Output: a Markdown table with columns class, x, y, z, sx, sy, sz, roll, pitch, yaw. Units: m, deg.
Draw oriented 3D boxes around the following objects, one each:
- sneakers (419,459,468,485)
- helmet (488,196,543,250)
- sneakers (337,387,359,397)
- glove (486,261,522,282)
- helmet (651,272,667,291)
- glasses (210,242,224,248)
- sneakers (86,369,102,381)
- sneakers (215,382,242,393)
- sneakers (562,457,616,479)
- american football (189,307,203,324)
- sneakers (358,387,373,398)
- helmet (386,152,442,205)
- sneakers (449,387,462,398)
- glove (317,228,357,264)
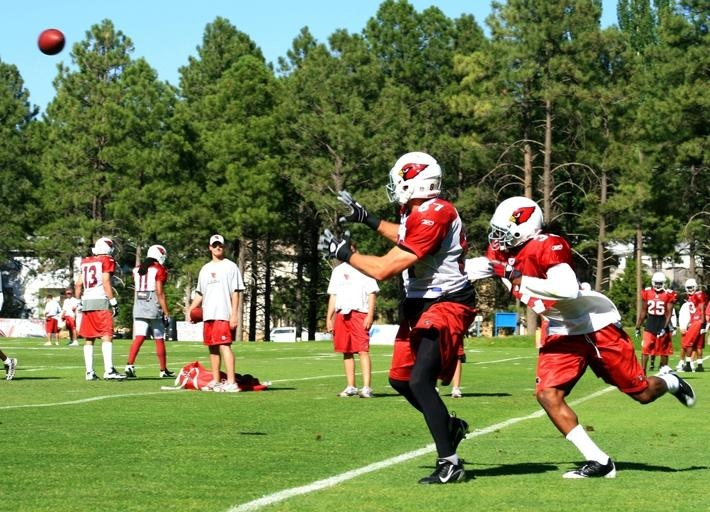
| class | x | y | z | sx | sy | sz | roll | pitch | yaw |
| --- | --- | --- | --- | --- | --- | --- | --- | --- | --- |
| sneakers | 0.865 | 2.079 | 8.691 | 0.541 | 0.230 | 0.174 | -4 | 3 | -30 |
| helmet | 1.623 | -0.345 | 9.591 | 0.658 | 0.496 | 0.461 | -18 | 5 | 5 |
| sneakers | -0.127 | 2.215 | 14.584 | 0.375 | 0.152 | 0.126 | -1 | 3 | -2 |
| glove | 1.509 | 0.166 | 9.148 | 0.291 | 0.164 | 0.096 | 18 | -31 | -12 |
| helmet | 6.995 | 0.583 | 20.538 | 0.441 | 0.417 | 0.536 | 0 | -8 | 7 |
| glasses | -2.281 | -0.174 | 14.812 | 0.141 | 0.091 | 0.215 | 2 | -5 | -3 |
| sneakers | -4.895 | 2.217 | 16.726 | 0.122 | 0.138 | 0.350 | 3 | 1 | 14 |
| sneakers | -2.099 | 2.154 | 14.737 | 0.442 | 0.178 | 0.165 | 3 | 3 | 0 |
| sneakers | 2.330 | 2.079 | 8.854 | 0.581 | 0.204 | 0.193 | 0 | -3 | 2 |
| american football | -2.781 | 1.047 | 15.677 | 0.254 | 0.219 | 0.314 | -2 | 9 | -3 |
| sneakers | 0.159 | 2.193 | 14.486 | 0.120 | 0.111 | 0.265 | 3 | 1 | 9 |
| helmet | 0.652 | -0.839 | 9.478 | 0.655 | 0.499 | 0.465 | 1 | 5 | 11 |
| sneakers | 1.634 | 2.234 | 14.727 | 0.177 | 0.171 | 0.186 | 5 | -9 | -43 |
| glove | -0.203 | -0.110 | 9.106 | 0.375 | 0.237 | 0.496 | 6 | -3 | -1 |
